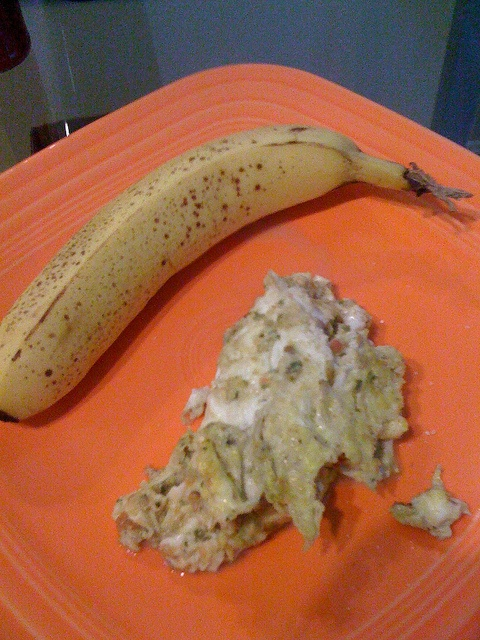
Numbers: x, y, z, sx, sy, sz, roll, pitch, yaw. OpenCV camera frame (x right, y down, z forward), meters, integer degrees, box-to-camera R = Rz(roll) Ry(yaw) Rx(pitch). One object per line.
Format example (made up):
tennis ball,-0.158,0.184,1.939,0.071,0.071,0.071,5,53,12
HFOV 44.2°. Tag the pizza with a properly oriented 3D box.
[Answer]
pizza,0.053,0.123,0.736,0.272,0.094,0.394,22,65,29
